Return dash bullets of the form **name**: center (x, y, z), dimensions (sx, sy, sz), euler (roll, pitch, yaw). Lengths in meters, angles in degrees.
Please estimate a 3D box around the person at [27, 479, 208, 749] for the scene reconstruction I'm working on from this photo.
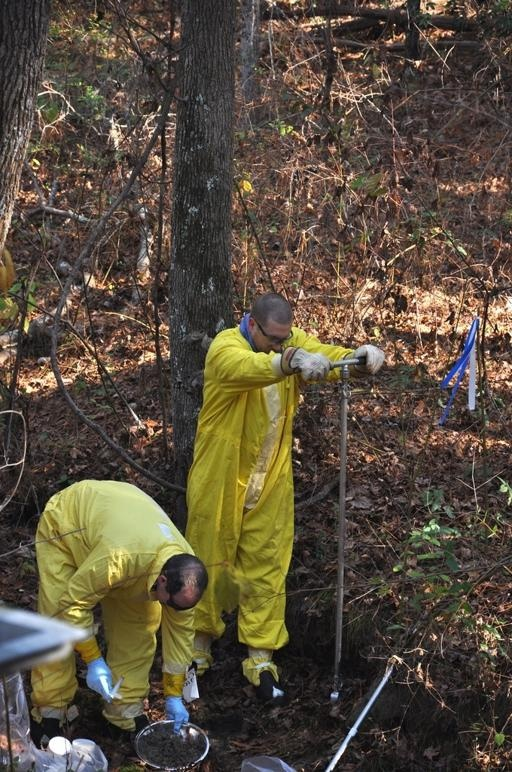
- **person**: center (-0.677, 1.136, 4.468), dimensions (0.760, 1.259, 0.814), euler (2, 8, -13)

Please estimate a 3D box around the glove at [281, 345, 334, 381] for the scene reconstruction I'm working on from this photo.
- **glove**: center (0.223, -0.090, 4.307), dimensions (0.202, 0.145, 0.095), euler (33, -21, -21)

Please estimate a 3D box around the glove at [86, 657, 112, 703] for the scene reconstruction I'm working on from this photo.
- **glove**: center (-0.747, 1.416, 4.480), dimensions (0.083, 0.219, 0.132), euler (-34, -39, 8)

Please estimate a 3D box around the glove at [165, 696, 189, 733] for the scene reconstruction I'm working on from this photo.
- **glove**: center (-0.398, 1.603, 4.586), dimensions (0.060, 0.160, 0.123), euler (-16, -1, -19)

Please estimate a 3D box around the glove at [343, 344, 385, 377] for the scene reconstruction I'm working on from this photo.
- **glove**: center (0.533, -0.131, 4.603), dimensions (0.178, 0.150, 0.255), euler (4, 7, 5)

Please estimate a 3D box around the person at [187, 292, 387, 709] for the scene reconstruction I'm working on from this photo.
- **person**: center (0.038, 0.574, 4.826), dimensions (0.645, 2.102, 1.026), euler (-2, 9, -35)

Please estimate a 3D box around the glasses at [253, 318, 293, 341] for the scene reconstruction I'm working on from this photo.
- **glasses**: center (0.097, -0.293, 4.633), dimensions (0.129, 0.126, 0.040), euler (-10, -26, -47)
